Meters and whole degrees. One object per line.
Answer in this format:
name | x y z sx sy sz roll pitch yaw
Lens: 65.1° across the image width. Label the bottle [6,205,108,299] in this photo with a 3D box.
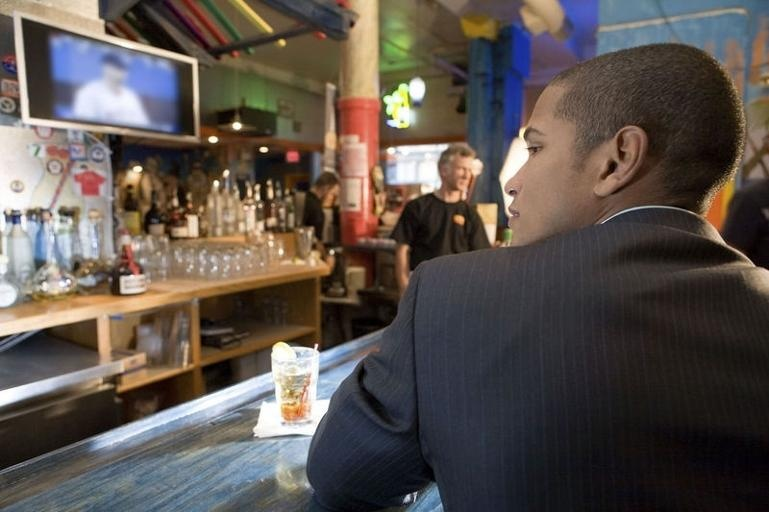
bottle | -1.386 -0.010 2.525 0.247 0.386 0.414 -3 0 24
